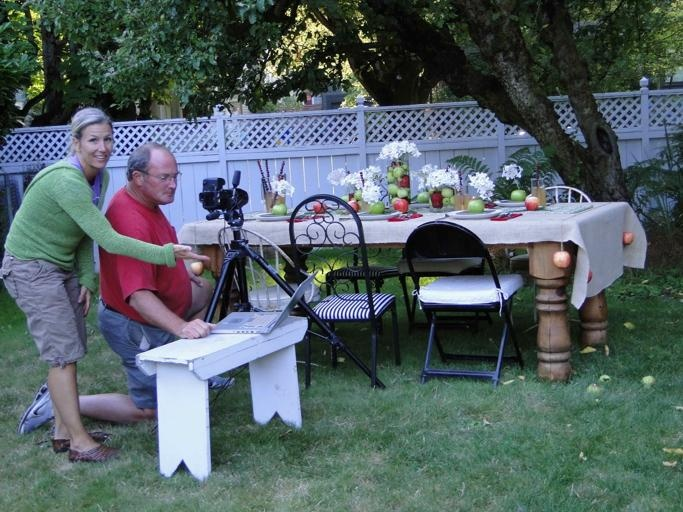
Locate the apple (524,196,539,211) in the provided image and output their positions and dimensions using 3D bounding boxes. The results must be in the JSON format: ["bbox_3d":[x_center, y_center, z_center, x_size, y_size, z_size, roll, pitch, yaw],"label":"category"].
[{"bbox_3d":[1.457,-0.399,5.014,0.090,0.127,0.098,-2,-1,8],"label":"apple"}]

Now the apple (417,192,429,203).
[{"bbox_3d":[0.701,-0.496,5.612,0.093,0.109,0.136,-3,11,3],"label":"apple"}]

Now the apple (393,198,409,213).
[{"bbox_3d":[0.484,-0.415,5.384,0.105,0.126,0.114,3,10,15],"label":"apple"}]

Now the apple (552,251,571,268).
[{"bbox_3d":[1.489,0.026,4.439,0.098,0.156,0.108,0,-4,5],"label":"apple"}]

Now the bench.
[{"bbox_3d":[-0.683,0.830,3.919,0.406,0.734,0.951,6,15,41],"label":"bench"}]

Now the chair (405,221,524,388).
[{"bbox_3d":[0.915,0.320,4.914,0.703,1.255,0.973,-3,5,27],"label":"chair"}]

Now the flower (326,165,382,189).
[{"bbox_3d":[0.131,-0.651,5.430,0.339,0.174,0.307,-6,9,-13],"label":"flower"}]

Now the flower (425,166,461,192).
[{"bbox_3d":[0.823,-0.626,5.297,0.191,0.135,0.212,1,8,17],"label":"flower"}]

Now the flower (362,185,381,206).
[{"bbox_3d":[0.250,-0.477,5.267,0.135,0.167,0.144,5,0,-11],"label":"flower"}]

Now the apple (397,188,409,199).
[{"bbox_3d":[0.507,-0.519,5.415,0.076,0.048,0.080,-7,-5,42],"label":"apple"}]

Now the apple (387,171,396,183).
[{"bbox_3d":[0.418,-0.665,5.491,0.059,0.084,0.068,-2,-2,2],"label":"apple"}]

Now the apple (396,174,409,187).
[{"bbox_3d":[0.520,-0.631,5.492,0.087,0.101,0.088,-1,2,1],"label":"apple"}]

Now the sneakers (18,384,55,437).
[{"bbox_3d":[-2.039,1.056,4.385,0.120,0.378,0.160,33,-15,-21],"label":"sneakers"}]

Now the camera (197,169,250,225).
[{"bbox_3d":[-0.769,-0.377,4.237,0.314,0.358,0.191,-9,12,-36],"label":"camera"}]

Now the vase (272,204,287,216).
[{"bbox_3d":[-0.519,-0.379,5.499,0.091,0.107,0.096,-7,-2,37],"label":"vase"}]

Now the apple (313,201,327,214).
[{"bbox_3d":[-0.170,-0.382,5.152,0.103,0.118,0.109,1,4,33],"label":"apple"}]

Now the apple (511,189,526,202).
[{"bbox_3d":[1.428,-0.482,5.289,0.099,0.115,0.108,-4,6,25],"label":"apple"}]

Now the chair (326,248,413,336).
[{"bbox_3d":[0.218,0.166,6.160,0.529,1.083,0.613,3,-1,18],"label":"chair"}]

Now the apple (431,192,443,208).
[{"bbox_3d":[0.785,-0.461,5.405,0.104,0.153,0.120,-1,8,3],"label":"apple"}]

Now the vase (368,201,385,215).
[{"bbox_3d":[0.282,-0.381,5.200,0.097,0.123,0.105,-2,1,8],"label":"vase"}]

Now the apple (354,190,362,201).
[{"bbox_3d":[0.139,-0.501,5.401,0.060,0.084,0.065,-1,1,12],"label":"apple"}]

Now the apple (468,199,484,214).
[{"bbox_3d":[1.023,-0.363,4.969,0.097,0.112,0.101,-6,-6,3],"label":"apple"}]

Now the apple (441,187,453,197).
[{"bbox_3d":[0.872,-0.520,5.441,0.073,0.083,0.093,13,17,-13],"label":"apple"}]

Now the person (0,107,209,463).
[{"bbox_3d":[-1.564,0.154,3.959,0.966,2.056,0.656,-6,11,-13],"label":"person"}]

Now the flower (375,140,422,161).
[{"bbox_3d":[0.453,-0.863,5.402,0.284,0.178,0.296,-10,5,-20],"label":"flower"}]

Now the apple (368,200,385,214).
[{"bbox_3d":[0.278,-0.381,5.200,0.095,0.121,0.104,-2,1,11],"label":"apple"}]

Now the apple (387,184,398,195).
[{"bbox_3d":[0.427,-0.552,5.438,0.077,0.088,0.079,-6,13,-7],"label":"apple"}]

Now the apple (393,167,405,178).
[{"bbox_3d":[0.471,-0.690,5.416,0.072,0.088,0.079,-11,4,-16],"label":"apple"}]

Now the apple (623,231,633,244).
[{"bbox_3d":[2.295,-0.144,5.238,0.071,0.078,0.086,-1,-1,0],"label":"apple"}]

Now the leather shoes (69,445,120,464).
[{"bbox_3d":[-1.480,1.157,3.873,0.220,0.086,0.115,0,0,-5],"label":"leather shoes"}]

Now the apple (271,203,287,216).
[{"bbox_3d":[-0.515,-0.393,5.447,0.090,0.107,0.097,-4,4,31],"label":"apple"}]
